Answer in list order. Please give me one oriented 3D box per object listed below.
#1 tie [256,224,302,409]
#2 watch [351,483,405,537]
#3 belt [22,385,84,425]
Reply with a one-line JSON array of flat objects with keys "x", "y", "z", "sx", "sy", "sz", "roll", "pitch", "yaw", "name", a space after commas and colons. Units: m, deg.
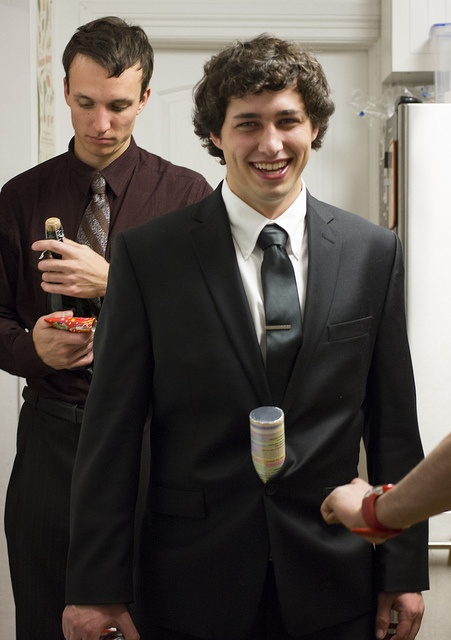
[{"x": 0.088, "y": -0.008, "z": 0.895, "sx": 0.067, "sy": 0.282, "sz": 0.091, "roll": -1, "pitch": 4, "yaw": 3, "name": "tie"}, {"x": 0.216, "y": 0.275, "z": 0.815, "sx": 0.031, "sy": 0.063, "sz": 0.087, "roll": -4, "pitch": 15, "yaw": 45, "name": "watch"}, {"x": -0.424, "y": 0.216, "z": 1.363, "sx": 0.109, "sy": 0.033, "sz": 0.099, "roll": 14, "pitch": -1, "yaw": 5, "name": "belt"}]
